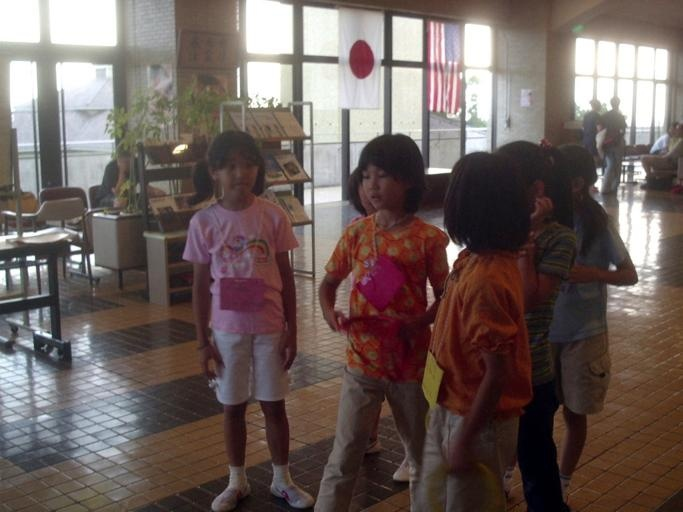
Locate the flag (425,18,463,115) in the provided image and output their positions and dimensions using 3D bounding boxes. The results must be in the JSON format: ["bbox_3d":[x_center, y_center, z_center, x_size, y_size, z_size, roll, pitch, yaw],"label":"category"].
[{"bbox_3d":[2.559,-4.701,14.320,1.190,2.209,0.416,-11,15,-43],"label":"flag"}]

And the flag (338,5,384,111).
[{"bbox_3d":[0.408,-4.210,12.256,1.148,2.038,0.348,-6,12,-26],"label":"flag"}]

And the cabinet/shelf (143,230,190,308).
[{"bbox_3d":[-1.782,0.162,6.324,0.298,0.761,0.782,-7,-2,20],"label":"cabinet/shelf"}]

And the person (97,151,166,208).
[{"bbox_3d":[-2.466,-0.891,6.832,0.460,0.784,0.565,11,34,6],"label":"person"}]

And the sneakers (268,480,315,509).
[{"bbox_3d":[-0.223,1.107,2.699,0.196,0.083,0.096,9,14,41],"label":"sneakers"}]

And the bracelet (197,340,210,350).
[{"bbox_3d":[-0.604,0.395,2.541,0.044,0.012,0.031,-16,10,-31],"label":"bracelet"}]

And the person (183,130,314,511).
[{"bbox_3d":[-0.428,0.302,2.603,0.515,1.707,0.385,-3,11,-11],"label":"person"}]
